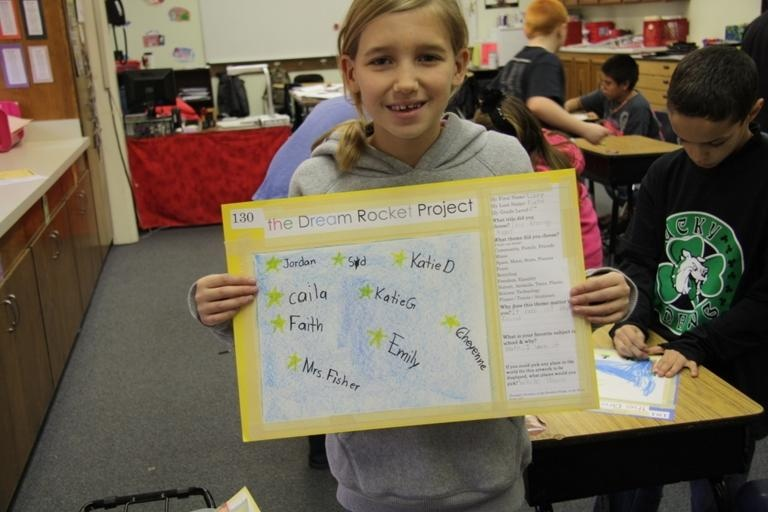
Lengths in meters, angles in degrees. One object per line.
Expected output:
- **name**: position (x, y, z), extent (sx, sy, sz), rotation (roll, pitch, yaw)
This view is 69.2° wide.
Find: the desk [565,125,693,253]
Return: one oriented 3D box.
- **desk**: position (1.688, -0.467, 4.313), extent (0.809, 0.921, 0.973), rotation (-1, 19, -1)
